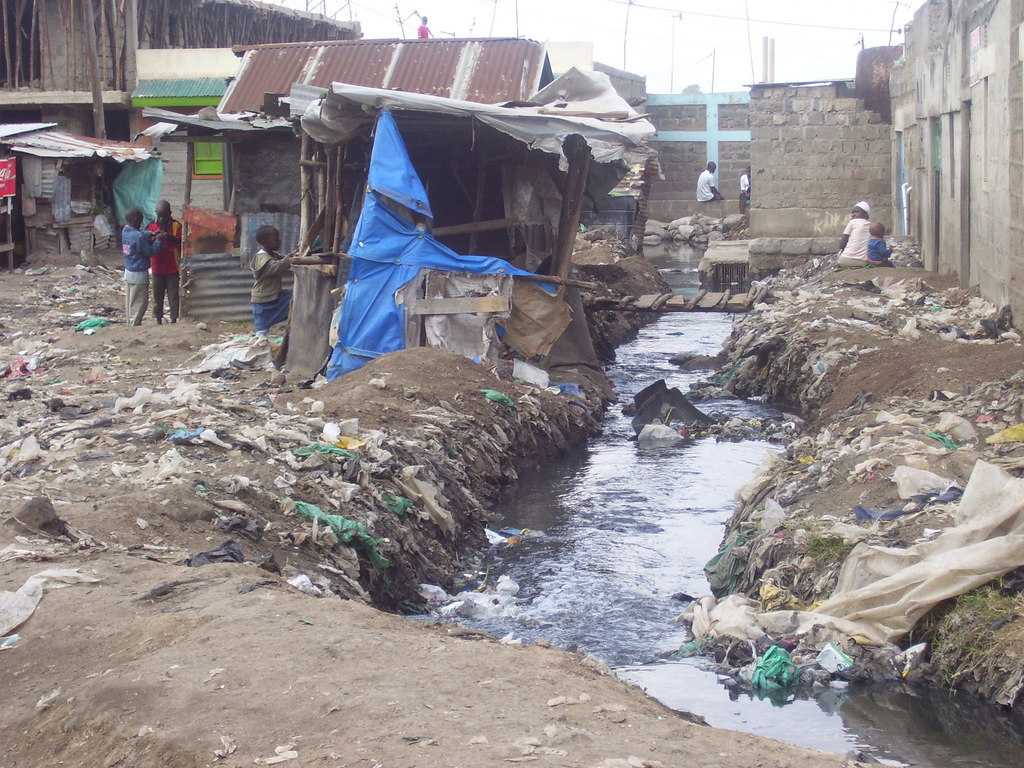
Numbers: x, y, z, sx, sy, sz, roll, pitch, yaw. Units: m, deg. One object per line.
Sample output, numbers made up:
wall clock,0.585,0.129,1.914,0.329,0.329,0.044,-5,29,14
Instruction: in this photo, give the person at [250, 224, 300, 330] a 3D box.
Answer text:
person,-2.932,-1.281,14.821,0.439,1.285,2.101,0,8,-10

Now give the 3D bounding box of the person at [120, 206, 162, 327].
person,-4.791,-1.504,15.703,0.412,1.498,0.924,-1,9,-17
